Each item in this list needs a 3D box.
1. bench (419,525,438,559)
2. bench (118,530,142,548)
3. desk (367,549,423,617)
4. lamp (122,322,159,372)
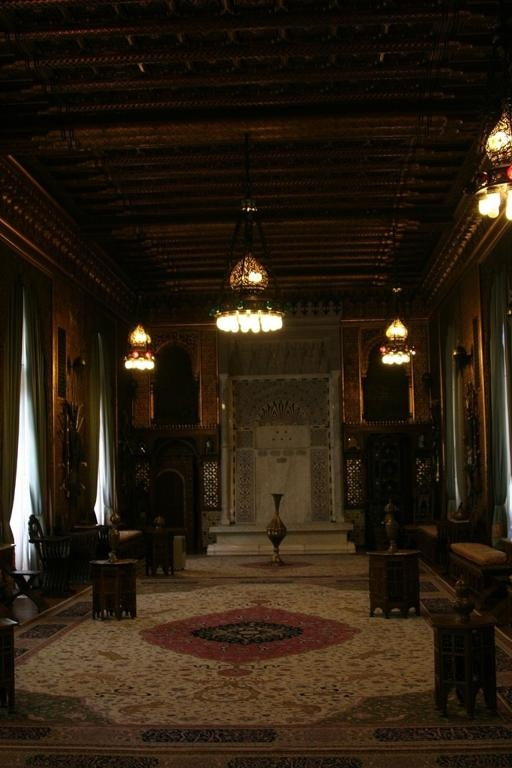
[{"bbox_3d":[2.865,2.615,11.647,0.248,0.566,1.676,-2,-8,12],"label":"bench"},{"bbox_3d":[-2.159,2.615,12.021,0.322,0.226,1.989,0,-8,-8],"label":"bench"},{"bbox_3d":[1.332,1.980,6.963,0.458,0.615,0.418,5,-13,-20],"label":"desk"},{"bbox_3d":[-1.978,-0.662,11.856,0.395,0.730,0.497,-1,-7,1],"label":"lamp"}]
